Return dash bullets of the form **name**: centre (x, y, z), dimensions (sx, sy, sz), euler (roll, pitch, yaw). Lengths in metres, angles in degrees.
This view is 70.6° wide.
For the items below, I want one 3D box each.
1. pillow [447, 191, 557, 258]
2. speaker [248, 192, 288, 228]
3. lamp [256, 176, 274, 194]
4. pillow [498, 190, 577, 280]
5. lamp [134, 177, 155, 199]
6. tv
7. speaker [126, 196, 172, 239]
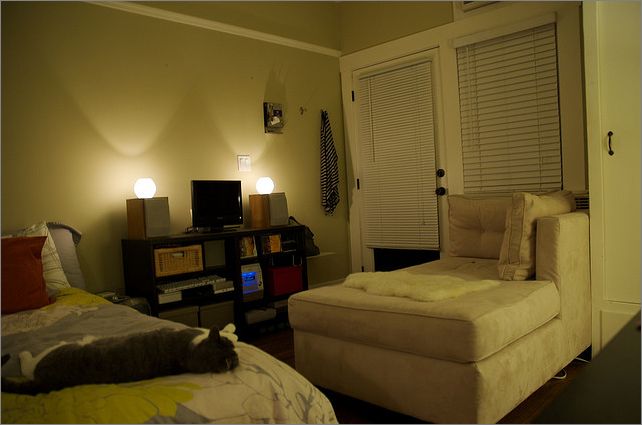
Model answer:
- **pillow**: centre (1.585, 0.081, 4.163), dimensions (0.250, 0.658, 0.656), euler (3, 3, -39)
- **speaker**: centre (-0.604, -0.018, 4.762), dimensions (0.494, 0.461, 0.332), euler (-4, 0, -39)
- **lamp**: centre (-0.589, -0.307, 4.980), dimensions (0.182, 0.200, 0.183), euler (5, 10, 24)
- **pillow**: centre (1.589, 0.180, 3.306), dimensions (0.213, 0.410, 0.623), euler (7, 11, 34)
- **lamp**: centre (-1.597, -0.219, 4.108), dimensions (0.203, 0.189, 0.197), euler (-3, 13, -23)
- **tv**: centre (-1.041, -0.062, 4.425), dimensions (0.521, 0.480, 0.177), euler (-2, -2, -35)
- **speaker**: centre (-1.504, 0.020, 4.085), dimensions (0.455, 0.455, 0.339), euler (-4, 2, -24)
